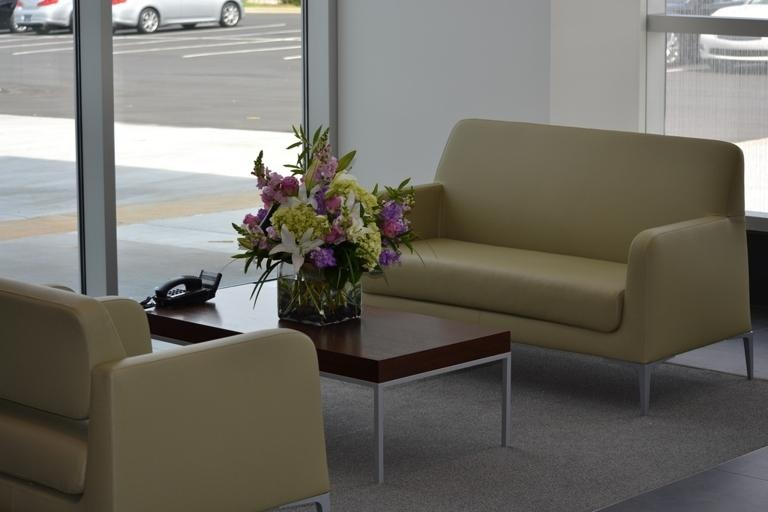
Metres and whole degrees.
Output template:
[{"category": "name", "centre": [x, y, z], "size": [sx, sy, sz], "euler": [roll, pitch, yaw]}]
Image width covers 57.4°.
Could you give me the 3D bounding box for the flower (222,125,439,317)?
[{"category": "flower", "centre": [-0.313, -0.110, 3.265], "size": [0.876, 0.875, 0.803], "euler": [-6, 7, -43]}]

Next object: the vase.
[{"category": "vase", "centre": [-0.282, 0.147, 3.202], "size": [0.292, 0.290, 0.300], "euler": [5, 5, 38]}]

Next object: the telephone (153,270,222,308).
[{"category": "telephone", "centre": [-0.966, 0.171, 3.466], "size": [0.303, 0.146, 0.176], "euler": [-6, 9, -38]}]

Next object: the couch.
[{"category": "couch", "centre": [0.930, -0.059, 4.200], "size": [1.113, 1.353, 2.033], "euler": [-10, 13, -40]}]
